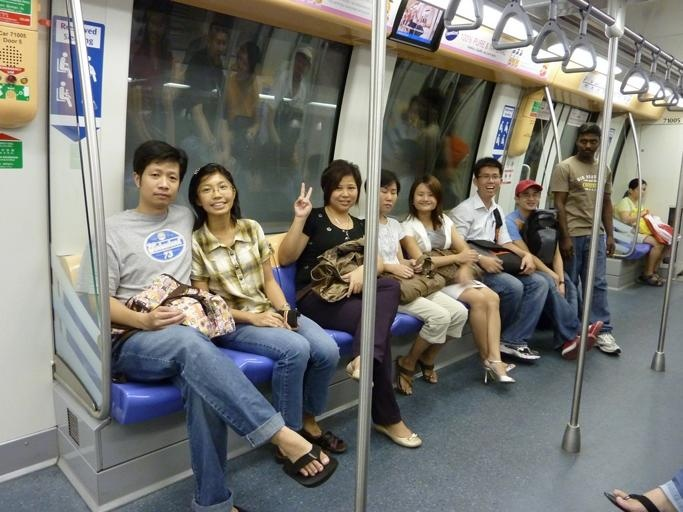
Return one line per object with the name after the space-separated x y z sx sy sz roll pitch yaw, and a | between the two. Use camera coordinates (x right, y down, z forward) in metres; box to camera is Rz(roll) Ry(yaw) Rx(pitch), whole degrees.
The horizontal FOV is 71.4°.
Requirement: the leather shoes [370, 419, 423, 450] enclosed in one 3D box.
0.359 1.189 3.230 0.338 0.146 0.128 15 20 29 | leather shoes

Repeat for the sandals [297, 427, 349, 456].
-0.122 1.181 3.044 0.307 0.099 0.130 12 18 19 | sandals

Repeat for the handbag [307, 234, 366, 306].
-0.003 0.087 3.371 0.172 0.367 0.445 5 32 46 | handbag

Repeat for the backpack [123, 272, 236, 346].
-0.909 0.280 2.659 0.418 0.180 0.424 33 31 25 | backpack

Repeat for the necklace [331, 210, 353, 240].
-0.008 -0.241 3.636 0.156 0.209 0.050 3 -26 -40 | necklace

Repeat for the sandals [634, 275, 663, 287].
5.189 0.426 7.995 0.171 0.115 0.287 -7 6 -33 | sandals

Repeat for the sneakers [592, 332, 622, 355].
2.712 0.890 4.891 0.127 0.170 0.358 -9 10 -22 | sneakers

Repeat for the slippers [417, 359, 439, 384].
0.721 0.956 4.045 0.099 0.079 0.251 -9 40 -32 | slippers

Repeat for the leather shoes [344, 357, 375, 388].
0.086 0.735 3.063 0.115 0.129 0.326 1 -12 -21 | leather shoes

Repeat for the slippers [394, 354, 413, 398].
0.496 0.973 3.838 0.114 0.325 0.114 -3 -12 -33 | slippers

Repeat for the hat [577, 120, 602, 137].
2.511 -1.283 4.823 0.197 0.150 0.344 8 14 24 | hat

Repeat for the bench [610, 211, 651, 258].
4.718 -0.241 7.846 0.649 0.625 0.899 7 16 37 | bench

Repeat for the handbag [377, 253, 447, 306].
0.630 0.201 3.842 0.433 0.174 0.335 -20 38 -32 | handbag

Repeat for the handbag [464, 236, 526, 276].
1.488 0.001 4.573 0.418 0.151 0.324 32 18 19 | handbag

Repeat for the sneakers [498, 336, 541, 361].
1.694 0.927 4.543 0.446 0.187 0.179 15 18 21 | sneakers
